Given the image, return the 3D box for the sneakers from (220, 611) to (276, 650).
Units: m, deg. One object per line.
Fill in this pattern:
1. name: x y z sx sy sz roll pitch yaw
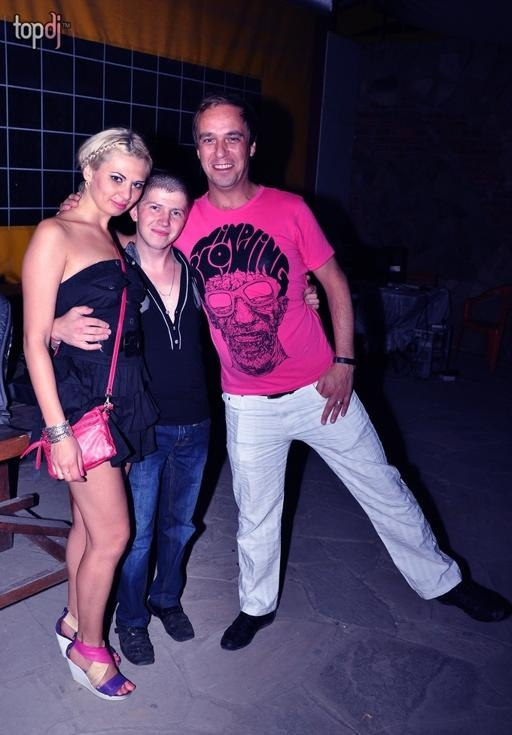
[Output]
1. sneakers: -0.025 0.895 2.022 0.080 0.079 0.205 11 16 38

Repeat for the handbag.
1. handbag: -0.417 0.182 1.435 0.176 0.155 0.065 -27 -26 22

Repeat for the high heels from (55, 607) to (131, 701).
1. high heels: -0.511 0.820 1.744 0.337 0.102 0.131 28 31 36

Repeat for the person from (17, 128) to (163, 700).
1. person: -0.442 0.172 1.591 0.304 1.611 0.377 3 11 7

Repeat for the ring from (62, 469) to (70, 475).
1. ring: -0.467 0.257 1.420 0.010 0.014 0.003 1 1 4

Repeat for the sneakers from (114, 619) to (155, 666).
1. sneakers: -0.382 0.895 1.869 0.077 0.058 0.157 0 12 -27

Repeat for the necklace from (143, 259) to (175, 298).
1. necklace: -0.285 -0.265 1.744 0.092 0.121 0.036 -10 -1 -24

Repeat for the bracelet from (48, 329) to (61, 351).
1. bracelet: -0.524 -0.073 1.508 0.041 0.055 0.020 -2 5 40

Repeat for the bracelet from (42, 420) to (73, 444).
1. bracelet: -0.489 0.156 1.419 0.057 0.040 0.057 -7 4 2

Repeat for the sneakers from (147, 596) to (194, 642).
1. sneakers: -0.290 0.863 2.017 0.075 0.060 0.185 -9 18 -35
